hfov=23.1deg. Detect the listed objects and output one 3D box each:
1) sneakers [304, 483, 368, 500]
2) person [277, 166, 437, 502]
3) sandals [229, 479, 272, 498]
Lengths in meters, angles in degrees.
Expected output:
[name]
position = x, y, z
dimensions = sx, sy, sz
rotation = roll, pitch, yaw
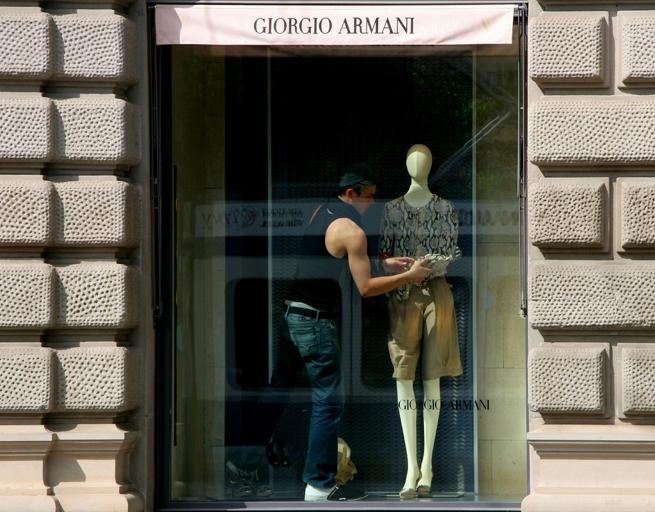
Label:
[sneakers]
position = 0.057, 1.716, 11.788
dimensions = 0.490, 0.177, 0.155
rotation = 0, -7, -4
[person]
position = 0.148, 0.578, 11.722
dimensions = 0.884, 2.336, 0.429
rotation = -3, -12, 8
[sandals]
position = -0.554, 1.691, 11.767
dimensions = 0.369, 0.140, 0.116
rotation = -1, -2, 1
